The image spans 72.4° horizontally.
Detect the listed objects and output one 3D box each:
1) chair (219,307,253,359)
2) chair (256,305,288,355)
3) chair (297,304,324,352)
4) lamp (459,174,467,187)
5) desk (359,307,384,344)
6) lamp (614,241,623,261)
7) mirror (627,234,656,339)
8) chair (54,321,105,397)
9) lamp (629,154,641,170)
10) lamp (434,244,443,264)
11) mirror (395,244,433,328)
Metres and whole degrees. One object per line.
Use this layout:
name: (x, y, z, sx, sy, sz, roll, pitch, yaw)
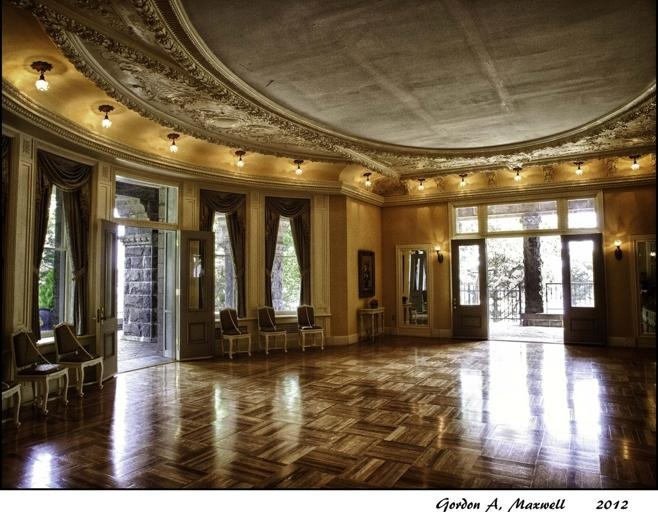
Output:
chair: (-1.802, 1.456, 8.676, 0.573, 0.920, 0.680, 0, -3, -18)
chair: (-1.150, 1.467, 9.098, 0.595, 0.914, 0.741, 0, -3, -6)
chair: (-0.364, 1.481, 9.426, 0.573, 0.897, 0.602, 0, -3, -7)
lamp: (3.084, -1.771, 10.375, 0.162, 0.274, 0.676, -1, -3, 16)
desk: (1.058, 1.644, 10.828, 0.399, 0.768, 0.964, -3, -6, 22)
lamp: (6.037, -0.121, 9.407, 0.152, 0.405, 0.077, -2, -3, 28)
mirror: (6.389, 0.682, 9.192, 0.467, 2.243, 0.237, -2, -3, 29)
chair: (-3.370, 1.360, 6.099, 0.516, 0.879, 0.498, 2, -1, 10)
lamp: (6.142, -1.902, 9.055, 0.150, 0.238, 0.499, -2, -3, 34)
lamp: (2.671, -0.040, 10.920, 0.197, 0.427, 0.092, -1, -2, 14)
mirror: (2.168, 0.808, 11.166, 0.955, 2.210, 0.151, -1, -3, 37)
